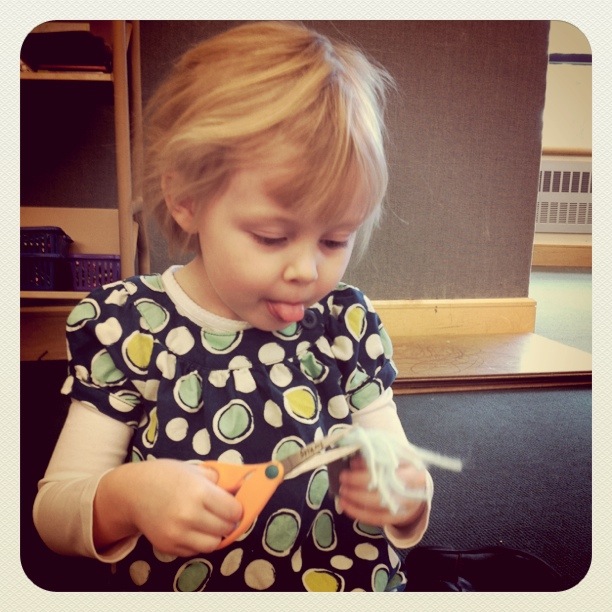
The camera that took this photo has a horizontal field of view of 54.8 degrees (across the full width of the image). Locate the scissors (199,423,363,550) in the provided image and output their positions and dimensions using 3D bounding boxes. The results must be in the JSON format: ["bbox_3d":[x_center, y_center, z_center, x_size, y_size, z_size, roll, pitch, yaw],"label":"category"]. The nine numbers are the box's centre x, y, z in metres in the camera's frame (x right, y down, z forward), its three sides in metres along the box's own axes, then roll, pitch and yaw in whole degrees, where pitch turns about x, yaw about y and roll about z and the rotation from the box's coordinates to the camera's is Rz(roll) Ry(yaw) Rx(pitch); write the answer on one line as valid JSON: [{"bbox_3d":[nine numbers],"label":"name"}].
[{"bbox_3d":[-0.040,0.193,0.637,0.184,0.018,0.099,-27,42,12],"label":"scissors"}]
